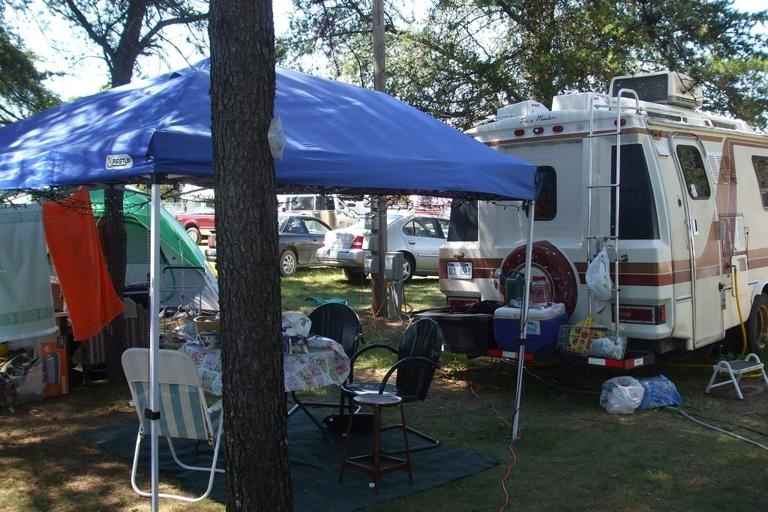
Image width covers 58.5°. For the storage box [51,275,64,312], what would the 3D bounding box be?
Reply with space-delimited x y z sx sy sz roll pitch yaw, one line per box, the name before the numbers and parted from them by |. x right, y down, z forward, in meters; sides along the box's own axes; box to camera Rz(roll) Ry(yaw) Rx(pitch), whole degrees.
storage box | -4.564 0.522 9.577 0.135 0.402 0.766 -5 10 -26

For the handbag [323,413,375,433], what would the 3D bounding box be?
handbag | -0.383 1.944 7.900 0.380 0.151 0.304 3 -4 -21

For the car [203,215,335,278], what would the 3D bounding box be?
car | -2.608 -0.112 17.681 4.074 1.375 1.703 -6 7 -41

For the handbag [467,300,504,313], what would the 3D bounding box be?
handbag | 1.374 0.702 9.274 0.289 0.106 0.211 1 1 -28

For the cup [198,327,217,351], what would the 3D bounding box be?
cup | -1.840 0.894 7.177 0.189 0.186 0.156 -1 1 -4

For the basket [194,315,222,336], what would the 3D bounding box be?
basket | -1.924 0.745 7.574 0.343 0.170 0.518 1 5 -4

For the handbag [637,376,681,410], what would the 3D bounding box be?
handbag | 3.411 1.703 8.512 0.445 0.151 0.354 -3 7 -21

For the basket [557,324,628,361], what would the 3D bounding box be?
basket | 2.495 1.044 8.313 0.390 0.244 0.600 1 1 -39

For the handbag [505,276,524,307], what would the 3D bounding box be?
handbag | 1.670 0.429 8.810 0.212 0.392 0.347 1 9 7

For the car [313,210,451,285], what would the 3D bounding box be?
car | 0.086 -0.240 17.179 3.550 1.170 1.525 -5 3 -36
